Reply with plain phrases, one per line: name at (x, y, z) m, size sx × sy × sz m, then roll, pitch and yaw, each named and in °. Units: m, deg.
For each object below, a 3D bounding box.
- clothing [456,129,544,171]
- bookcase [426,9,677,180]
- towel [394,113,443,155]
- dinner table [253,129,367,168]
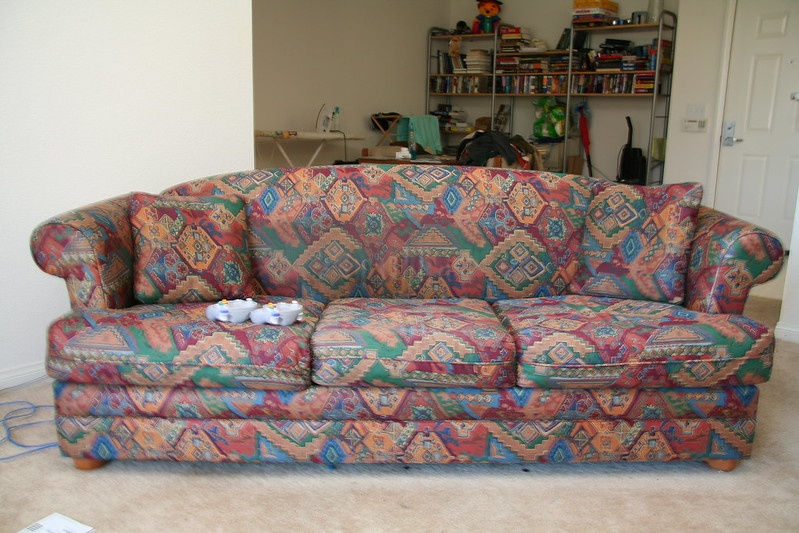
clothing at (0.804, -0.907, 5.481) m, size 0.529 × 0.206 × 0.579 m, roll 4°, pitch 8°, yaw 6°
bookcase at (1.743, -1.854, 7.210) m, size 2.655 × 2.461 × 0.622 m, roll 12°, pitch 20°, yaw 40°
towel at (0.205, -1.376, 7.027) m, size 0.436 × 0.394 × 0.907 m, roll -1°, pitch 12°, yaw -2°
dinner table at (-0.876, -1.198, 6.867) m, size 0.785 × 0.363 × 1.591 m, roll 5°, pitch 13°, yaw 23°
